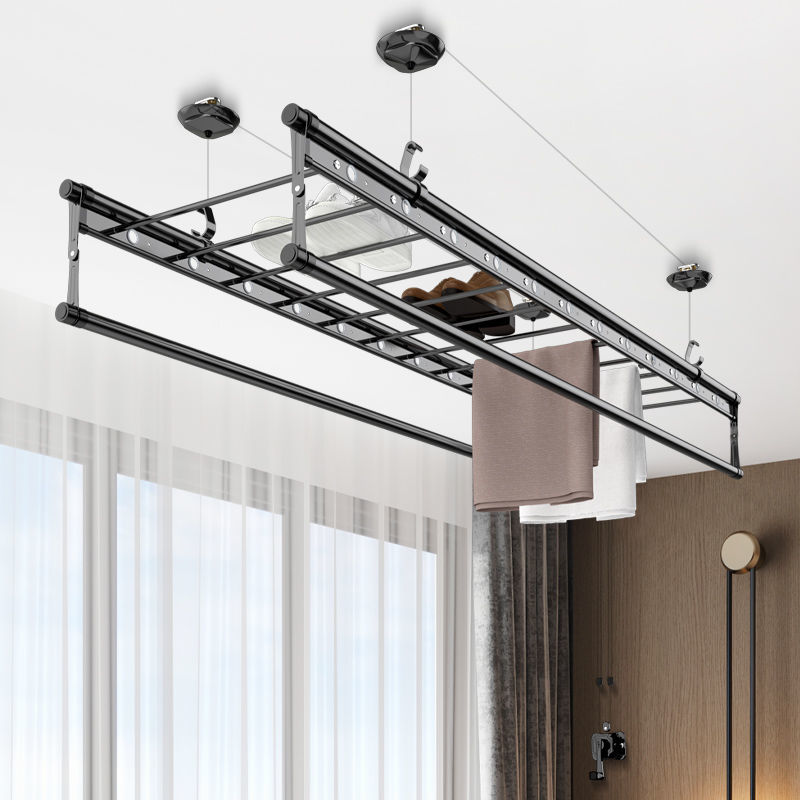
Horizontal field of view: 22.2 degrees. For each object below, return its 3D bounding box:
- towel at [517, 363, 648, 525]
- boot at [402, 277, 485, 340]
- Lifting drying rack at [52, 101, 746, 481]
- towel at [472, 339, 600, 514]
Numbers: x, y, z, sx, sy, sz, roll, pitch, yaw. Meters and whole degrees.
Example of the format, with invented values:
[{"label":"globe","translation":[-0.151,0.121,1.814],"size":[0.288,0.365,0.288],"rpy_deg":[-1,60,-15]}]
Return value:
[{"label":"towel","translation":[0.442,0.098,4.994],"size":[0.134,0.404,0.308],"rpy_deg":[11,-12,-43]},{"label":"boot","translation":[0.108,-0.224,4.730],"size":[0.199,0.080,0.113],"rpy_deg":[32,-31,-29]},{"label":"Lifting drying rack","translation":[-0.025,-0.291,4.853],"size":[0.980,0.761,1.681],"rpy_deg":[-18,-26,36]},{"label":"towel","translation":[0.322,0.080,5.019],"size":[0.300,0.436,0.052],"rpy_deg":[-4,-29,11]}]
